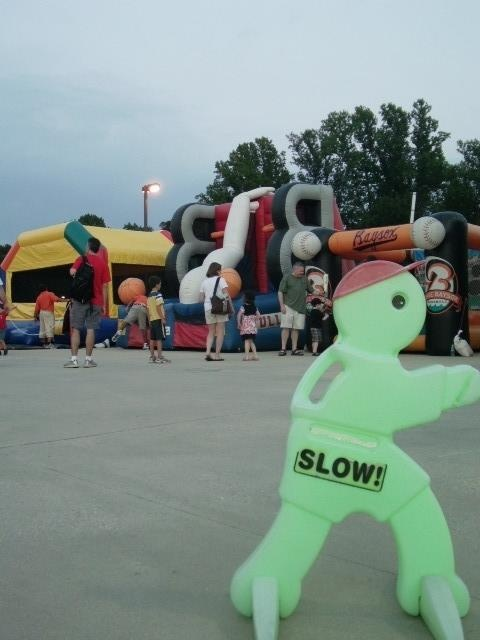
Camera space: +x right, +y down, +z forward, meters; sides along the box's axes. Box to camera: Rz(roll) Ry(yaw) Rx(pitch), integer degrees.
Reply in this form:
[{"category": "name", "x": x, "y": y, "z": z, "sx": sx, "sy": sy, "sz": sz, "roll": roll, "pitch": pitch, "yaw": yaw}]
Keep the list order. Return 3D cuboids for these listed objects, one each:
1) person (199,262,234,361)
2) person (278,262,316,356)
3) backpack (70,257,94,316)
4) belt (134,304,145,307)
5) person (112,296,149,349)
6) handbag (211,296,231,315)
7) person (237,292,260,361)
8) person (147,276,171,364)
[{"category": "person", "x": -0.406, "y": -0.132, "z": 10.120, "sx": 0.527, "sy": 1.671, "sz": 0.811, "roll": 1, "pitch": -1, "yaw": -5}, {"category": "person", "x": 1.008, "y": -0.200, "z": 11.309, "sx": 0.584, "sy": 1.761, "sz": 0.495, "roll": 0, "pitch": -1, "yaw": 20}, {"category": "backpack", "x": -2.297, "y": -0.582, "z": 8.502, "sx": 0.366, "sy": 0.732, "sz": 0.363, "roll": 2, "pitch": -2, "yaw": -44}, {"category": "belt", "x": -2.093, "y": -0.314, "z": 12.420, "sx": 0.094, "sy": 0.092, "sz": 0.280, "roll": -1, "pitch": -2, "yaw": 42}, {"category": "person", "x": -2.176, "y": -0.132, "z": 12.421, "sx": 0.778, "sy": 0.539, "sz": 1.289, "roll": 8, "pitch": 35, "yaw": -13}, {"category": "handbag", "x": -0.327, "y": -0.234, "z": 9.754, "sx": 0.324, "sy": 0.317, "sz": 0.232, "roll": 0, "pitch": 7, "yaw": -11}, {"category": "person", "x": 0.141, "y": 0.115, "z": 10.670, "sx": 0.376, "sy": 1.192, "sz": 0.807, "roll": 1, "pitch": -1, "yaw": -1}, {"category": "person", "x": -1.432, "y": -0.017, "z": 10.237, "sx": 0.346, "sy": 1.478, "sz": 0.761, "roll": 1, "pitch": -1, "yaw": -10}]
